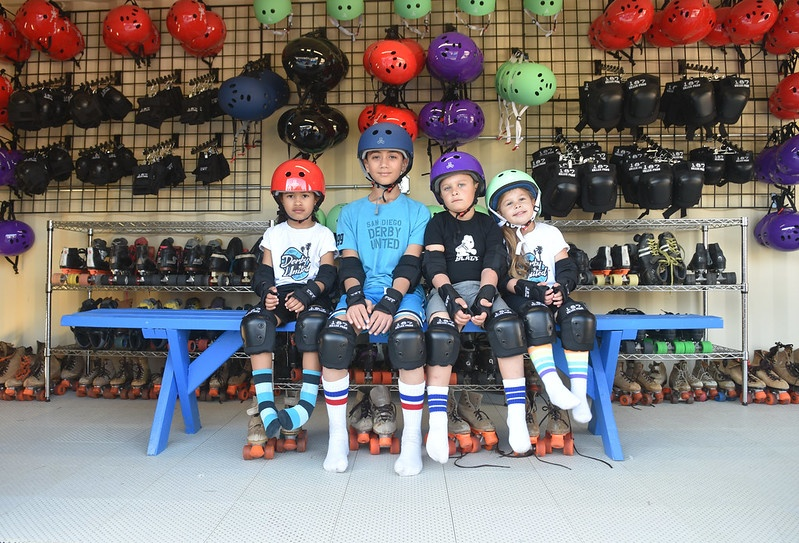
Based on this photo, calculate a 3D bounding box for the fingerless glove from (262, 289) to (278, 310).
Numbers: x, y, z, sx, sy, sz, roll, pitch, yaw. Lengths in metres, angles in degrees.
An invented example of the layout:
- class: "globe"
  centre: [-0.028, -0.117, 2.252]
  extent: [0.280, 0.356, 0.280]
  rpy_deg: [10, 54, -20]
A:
- class: "fingerless glove"
  centre: [-0.890, 0.195, 4.680]
  extent: [0.070, 0.095, 0.104]
  rpy_deg: [19, 15, 18]

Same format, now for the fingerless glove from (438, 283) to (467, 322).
- class: "fingerless glove"
  centre: [0.362, 0.216, 4.592]
  extent: [0.128, 0.238, 0.098]
  rpy_deg: [-4, -31, -29]

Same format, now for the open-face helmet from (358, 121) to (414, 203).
- class: "open-face helmet"
  centre: [-0.087, -0.821, 5.083]
  extent: [0.447, 0.661, 0.513]
  rpy_deg: [-1, 2, -1]

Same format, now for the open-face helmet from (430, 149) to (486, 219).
- class: "open-face helmet"
  centre: [0.452, -0.679, 5.005]
  extent: [0.324, 0.439, 0.410]
  rpy_deg: [2, 33, 11]

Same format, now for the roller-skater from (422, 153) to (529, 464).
- class: "roller-skater"
  centre: [0.474, 0.193, 4.713]
  extent: [0.740, 2.063, 0.844]
  rpy_deg: [-4, -31, 1]

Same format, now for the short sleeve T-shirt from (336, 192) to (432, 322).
- class: "short sleeve T-shirt"
  centre: [-0.126, -0.051, 5.098]
  extent: [0.923, 1.294, 0.709]
  rpy_deg: [0, -1, 2]

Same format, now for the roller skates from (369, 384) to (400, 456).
- class: "roller skates"
  centre: [-0.112, 1.042, 4.846]
  extent: [0.171, 0.280, 0.538]
  rpy_deg: [4, -2, -7]

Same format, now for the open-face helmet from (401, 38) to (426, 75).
- class: "open-face helmet"
  centre: [0.159, -1.845, 5.877]
  extent: [0.230, 0.291, 0.240]
  rpy_deg: [10, 37, -1]

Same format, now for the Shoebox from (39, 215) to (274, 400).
- class: "Shoebox"
  centre: [-2.415, 0.174, 6.415]
  extent: [1.645, 1.453, 0.660]
  rpy_deg: [-3, 13, -31]

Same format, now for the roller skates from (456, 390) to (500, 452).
- class: "roller skates"
  centre: [0.554, 1.000, 4.787]
  extent: [0.128, 0.233, 0.404]
  rpy_deg: [5, 4, -29]

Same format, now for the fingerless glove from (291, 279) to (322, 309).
- class: "fingerless glove"
  centre: [-0.648, 0.147, 4.726]
  extent: [0.142, 0.075, 0.178]
  rpy_deg: [19, 37, 32]

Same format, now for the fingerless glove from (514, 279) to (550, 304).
- class: "fingerless glove"
  centre: [0.912, 0.121, 4.651]
  extent: [0.197, 0.081, 0.123]
  rpy_deg: [19, -30, 41]

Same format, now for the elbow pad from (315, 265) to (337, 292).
- class: "elbow pad"
  centre: [-0.517, 0.052, 4.894]
  extent: [0.130, 0.186, 0.189]
  rpy_deg: [-2, -18, -2]

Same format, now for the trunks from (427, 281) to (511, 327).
- class: "trunks"
  centre: [0.407, 0.217, 4.697]
  extent: [0.406, 0.333, 0.126]
  rpy_deg: [1, -19, -8]

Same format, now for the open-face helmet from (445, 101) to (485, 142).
- class: "open-face helmet"
  centre: [0.573, -1.249, 5.659]
  extent: [0.258, 0.330, 0.339]
  rpy_deg: [0, 2, -37]

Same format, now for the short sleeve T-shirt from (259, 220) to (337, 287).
- class: "short sleeve T-shirt"
  centre: [-0.689, -0.139, 5.129]
  extent: [0.619, 0.661, 0.379]
  rpy_deg: [3, -29, -1]

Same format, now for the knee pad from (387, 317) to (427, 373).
- class: "knee pad"
  centre: [0.054, 0.480, 4.421]
  extent: [0.220, 0.320, 0.116]
  rpy_deg: [-1, -6, -3]

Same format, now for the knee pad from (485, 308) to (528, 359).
- class: "knee pad"
  centre: [0.734, 0.407, 4.472]
  extent: [0.263, 0.359, 0.130]
  rpy_deg: [-12, -38, -13]

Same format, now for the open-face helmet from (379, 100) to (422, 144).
- class: "open-face helmet"
  centre: [0.013, -1.250, 5.654]
  extent: [0.282, 0.302, 0.275]
  rpy_deg: [7, 10, 38]

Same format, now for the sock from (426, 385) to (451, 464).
- class: "sock"
  centre: [0.258, 1.000, 4.497]
  extent: [0.176, 0.424, 0.556]
  rpy_deg: [-2, 7, 3]

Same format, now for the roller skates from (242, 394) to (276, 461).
- class: "roller skates"
  centre: [-1.006, 1.082, 4.807]
  extent: [0.204, 0.335, 0.506]
  rpy_deg: [1, 6, -10]

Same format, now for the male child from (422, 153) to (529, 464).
- class: "male child"
  centre: [0.456, 0.187, 4.702]
  extent: [0.740, 2.063, 0.844]
  rpy_deg: [-4, -31, 1]

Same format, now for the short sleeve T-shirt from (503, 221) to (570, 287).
- class: "short sleeve T-shirt"
  centre: [0.977, -0.112, 4.885]
  extent: [0.417, 0.524, 0.205]
  rpy_deg: [0, -1, 19]

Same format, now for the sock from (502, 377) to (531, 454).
- class: "sock"
  centre: [0.774, 0.927, 4.440]
  extent: [0.144, 0.373, 0.482]
  rpy_deg: [-6, 8, 10]

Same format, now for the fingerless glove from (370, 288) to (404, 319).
- class: "fingerless glove"
  centre: [-0.069, 0.204, 4.597]
  extent: [0.225, 0.168, 0.086]
  rpy_deg: [-2, -1, -43]

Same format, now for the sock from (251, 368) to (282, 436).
- class: "sock"
  centre: [-0.888, 0.857, 4.531]
  extent: [0.155, 0.517, 0.137]
  rpy_deg: [-10, -28, 7]

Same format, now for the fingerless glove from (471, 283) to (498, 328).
- class: "fingerless glove"
  centre: [0.560, 0.224, 4.547]
  extent: [0.183, 0.237, 0.094]
  rpy_deg: [36, 12, 37]

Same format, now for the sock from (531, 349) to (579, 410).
- class: "sock"
  centre: [1.019, 0.753, 4.430]
  extent: [0.164, 0.565, 0.147]
  rpy_deg: [-14, -35, 1]

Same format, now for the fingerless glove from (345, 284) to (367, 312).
- class: "fingerless glove"
  centre: [-0.294, 0.169, 4.653]
  extent: [0.135, 0.141, 0.179]
  rpy_deg: [-2, 0, -5]

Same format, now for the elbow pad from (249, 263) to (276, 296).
- class: "elbow pad"
  centre: [-0.981, 0.071, 4.875]
  extent: [0.155, 0.230, 0.081]
  rpy_deg: [-4, -41, 2]

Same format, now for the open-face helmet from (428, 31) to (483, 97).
- class: "open-face helmet"
  centre: [0.483, -1.780, 5.772]
  extent: [0.480, 0.498, 0.405]
  rpy_deg: [-9, 38, -23]

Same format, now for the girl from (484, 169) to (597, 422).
- class: "girl"
  centre: [1.000, 0.178, 4.854]
  extent: [0.595, 1.989, 0.627]
  rpy_deg: [-9, -20, 0]

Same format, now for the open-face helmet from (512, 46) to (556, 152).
- class: "open-face helmet"
  centre: [1.131, -1.453, 5.796]
  extent: [0.374, 0.760, 0.496]
  rpy_deg: [-2, 0, 6]

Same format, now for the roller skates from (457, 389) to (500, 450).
- class: "roller skates"
  centre: [0.552, 1.031, 4.749]
  extent: [0.163, 0.257, 0.506]
  rpy_deg: [-2, 5, -16]

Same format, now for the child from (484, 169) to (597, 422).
- class: "child"
  centre: [1.010, 0.160, 4.859]
  extent: [0.595, 1.989, 0.626]
  rpy_deg: [-9, -20, 0]

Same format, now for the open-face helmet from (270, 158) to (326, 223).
- class: "open-face helmet"
  centre: [-0.749, -0.616, 5.117]
  extent: [0.358, 0.448, 0.431]
  rpy_deg: [0, 0, -5]

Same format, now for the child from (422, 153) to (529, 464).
- class: "child"
  centre: [0.479, 0.159, 4.735]
  extent: [0.740, 2.063, 0.844]
  rpy_deg: [-4, -31, 1]

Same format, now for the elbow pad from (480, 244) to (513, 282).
- class: "elbow pad"
  centre: [0.698, -0.067, 4.814]
  extent: [0.152, 0.282, 0.109]
  rpy_deg: [-6, -34, 9]

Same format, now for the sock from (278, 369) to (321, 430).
- class: "sock"
  centre: [-0.759, 0.884, 4.676]
  extent: [0.158, 0.438, 0.451]
  rpy_deg: [19, -10, -9]
